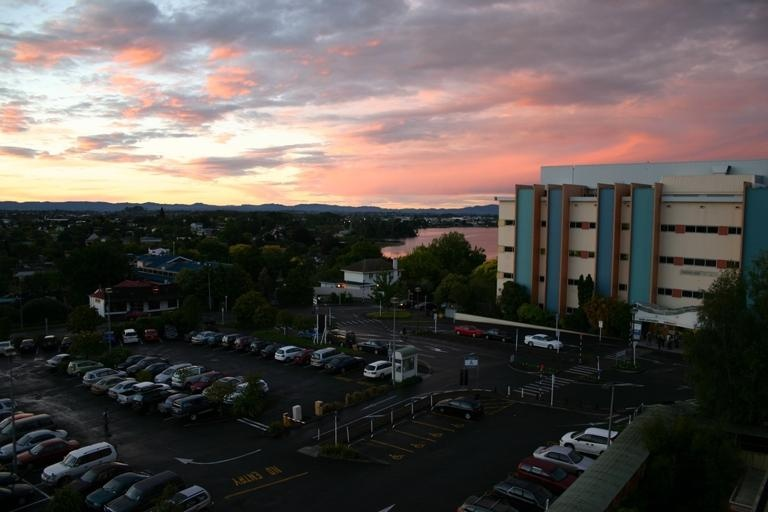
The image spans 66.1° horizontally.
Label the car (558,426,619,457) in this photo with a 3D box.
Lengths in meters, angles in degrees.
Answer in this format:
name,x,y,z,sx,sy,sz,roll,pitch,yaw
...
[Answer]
name,x,y,z,sx,sy,sz,roll,pitch,yaw
car,16.962,15.113,48.898,3.758,1.283,2.541,4,4,28
